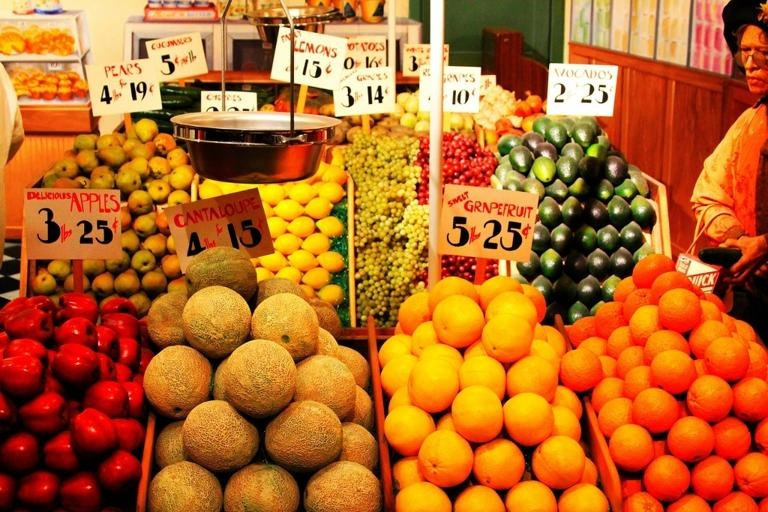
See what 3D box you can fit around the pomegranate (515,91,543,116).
[{"bbox_3d":[1.260,-1.285,5.393,0.246,0.162,0.375,9,29,10],"label":"pomegranate"}]
